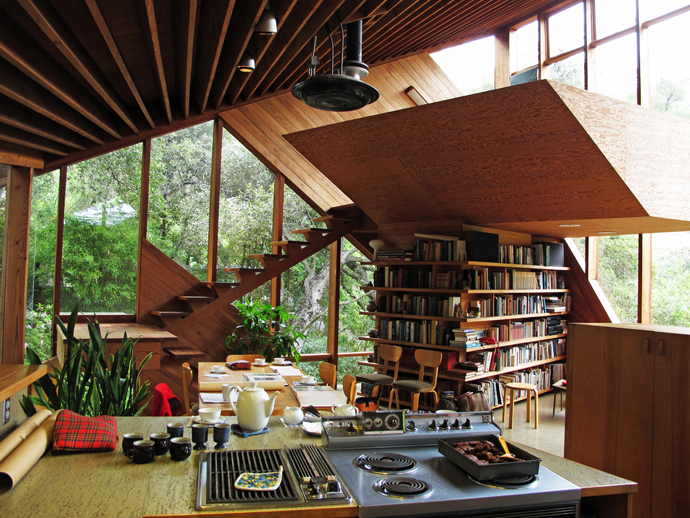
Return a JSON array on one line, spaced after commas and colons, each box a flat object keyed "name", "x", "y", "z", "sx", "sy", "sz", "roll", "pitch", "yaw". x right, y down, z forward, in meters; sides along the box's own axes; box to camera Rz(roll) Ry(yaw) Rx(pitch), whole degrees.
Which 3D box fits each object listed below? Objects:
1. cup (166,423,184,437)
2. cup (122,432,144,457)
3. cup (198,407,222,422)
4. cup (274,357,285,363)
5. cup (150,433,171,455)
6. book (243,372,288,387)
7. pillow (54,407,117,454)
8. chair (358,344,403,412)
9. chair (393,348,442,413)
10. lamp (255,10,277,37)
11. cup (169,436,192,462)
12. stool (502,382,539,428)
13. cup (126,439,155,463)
[{"name": "cup", "x": -0.772, "y": 0.780, "z": 2.238, "sx": 0.064, "sy": 0.050, "sz": 0.072, "roll": 2, "pitch": 7, "yaw": -22}, {"name": "cup", "x": -0.927, "y": 0.813, "z": 2.163, "sx": 0.078, "sy": 0.058, "sz": 0.099, "roll": 0, "pitch": -2, "yaw": 7}, {"name": "cup", "x": -0.686, "y": 0.787, "z": 2.491, "sx": 0.073, "sy": 0.054, "sz": 0.098, "roll": -2, "pitch": 9, "yaw": -42}, {"name": "cup", "x": -0.672, "y": 1.008, "z": 4.960, "sx": 0.105, "sy": 0.037, "sz": 0.087, "roll": -4, "pitch": -7, "yaw": 40}, {"name": "cup", "x": -0.804, "y": 0.810, "z": 2.155, "sx": 0.082, "sy": 0.059, "sz": 0.090, "roll": 1, "pitch": -6, "yaw": 0}, {"name": "book", "x": -0.664, "y": 0.991, "z": 4.043, "sx": 0.342, "sy": 0.060, "sz": 0.308, "roll": 2, "pitch": -3, "yaw": -18}, {"name": "pillow", "x": -1.145, "y": 0.764, "z": 2.169, "sx": 0.235, "sy": 0.055, "sz": 0.202, "roll": 4, "pitch": 20, "yaw": -19}, {"name": "chair", "x": 0.402, "y": 1.474, "z": 6.208, "sx": 0.647, "sy": 0.670, "sz": 0.545, "roll": 3, "pitch": -2, "yaw": -14}, {"name": "chair", "x": 0.832, "y": 1.487, "z": 5.885, "sx": 0.645, "sy": 0.638, "sz": 0.585, "roll": -3, "pitch": 1, "yaw": -9}, {"name": "lamp", "x": -0.709, "y": -2.169, "z": 4.498, "sx": 0.195, "sy": 0.231, "sz": 0.165, "roll": 3, "pitch": 8, "yaw": -12}, {"name": "cup", "x": -0.706, "y": 0.811, "z": 2.110, "sx": 0.085, "sy": 0.062, "sz": 0.100, "roll": 2, "pitch": 1, "yaw": -31}, {"name": "stool", "x": 2.276, "y": 1.922, "z": 6.445, "sx": 0.629, "sy": 0.581, "sz": 0.570, "roll": -2, "pitch": -13, "yaw": 21}, {"name": "cup", "x": -0.856, "y": 0.807, "z": 2.088, "sx": 0.118, "sy": 0.063, "sz": 0.077, "roll": -1, "pitch": 3, "yaw": -44}]
